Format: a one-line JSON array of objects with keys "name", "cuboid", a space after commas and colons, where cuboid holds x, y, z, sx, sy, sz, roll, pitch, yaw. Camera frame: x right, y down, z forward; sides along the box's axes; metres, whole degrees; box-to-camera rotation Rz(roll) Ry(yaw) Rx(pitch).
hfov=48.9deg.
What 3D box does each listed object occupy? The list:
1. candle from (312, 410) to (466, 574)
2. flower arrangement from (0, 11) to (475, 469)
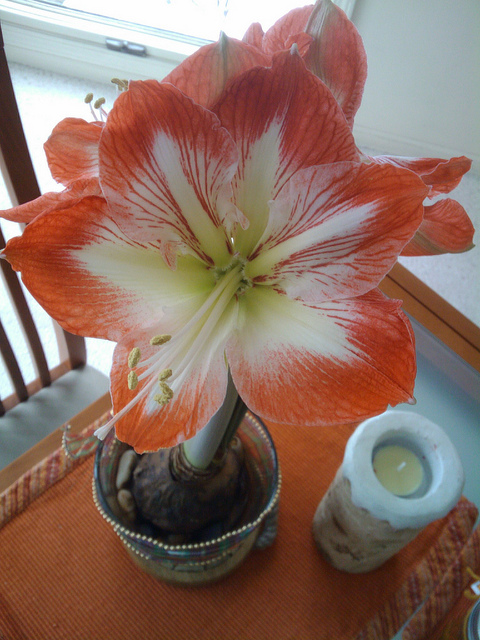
[{"name": "candle", "cuboid": [0.155, 0.201, 0.583, 0.115, 0.193, 0.125, 11, 48, 3]}, {"name": "flower arrangement", "cuboid": [0.004, -0.033, 0.380, 0.222, 0.267, 0.260, 1, 16, 9]}]
